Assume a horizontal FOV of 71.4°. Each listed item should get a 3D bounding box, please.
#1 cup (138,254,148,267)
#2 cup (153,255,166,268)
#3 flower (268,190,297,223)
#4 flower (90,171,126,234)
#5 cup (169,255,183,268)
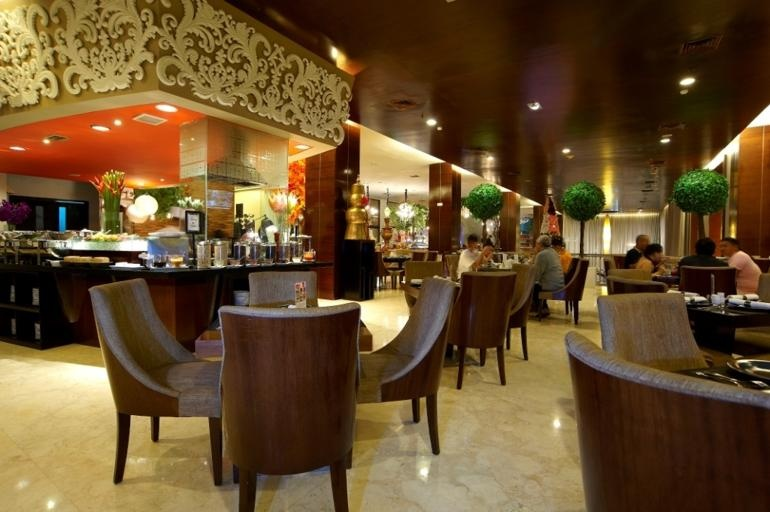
[{"bbox_3d":[-2.618,0.041,5.861,0.138,0.151,0.091,-1,6,-23],"label":"cup"},{"bbox_3d":[-2.398,0.056,5.713,0.127,0.122,0.110,4,-3,-26],"label":"cup"},{"bbox_3d":[-1.485,-0.712,7.601,0.425,0.480,0.475,2,6,6],"label":"flower"},{"bbox_3d":[-3.981,-0.779,7.810,0.291,0.884,0.938,0,3,-27],"label":"flower"},{"bbox_3d":[-2.255,0.056,5.801,0.125,0.107,0.137,0,-4,0],"label":"cup"}]
